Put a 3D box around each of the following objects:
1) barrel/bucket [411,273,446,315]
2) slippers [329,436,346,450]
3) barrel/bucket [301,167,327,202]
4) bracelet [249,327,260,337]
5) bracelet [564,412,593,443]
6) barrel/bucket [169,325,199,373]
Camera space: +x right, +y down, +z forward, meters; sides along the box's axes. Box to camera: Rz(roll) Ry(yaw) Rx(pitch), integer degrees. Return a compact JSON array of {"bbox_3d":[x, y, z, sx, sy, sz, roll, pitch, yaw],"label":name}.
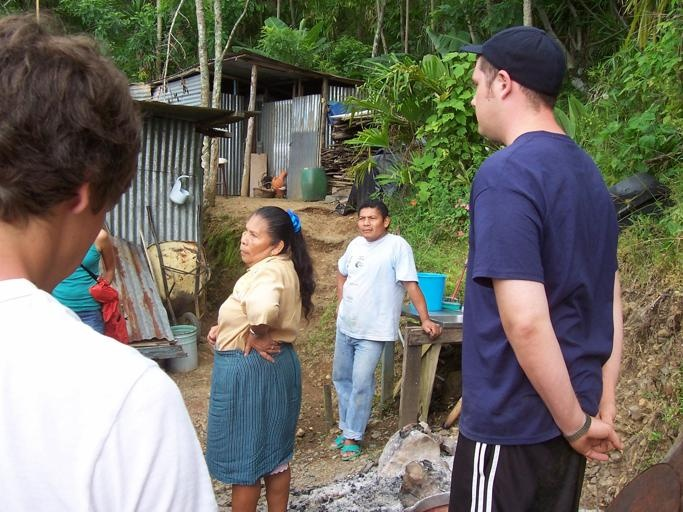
[{"bbox_3d":[0.693,0.283,5.072,0.268,0.270,0.271,-1,2,0],"label":"barrel/bucket"},{"bbox_3d":[-0.024,1.501,5.043,0.067,0.066,0.142,5,6,40],"label":"slippers"},{"bbox_3d":[-0.588,-1.552,13.444,0.636,0.676,0.626,-3,5,0],"label":"barrel/bucket"},{"bbox_3d":[-0.466,0.403,3.343,0.042,0.045,0.012,-11,41,48],"label":"bracelet"},{"bbox_3d":[0.783,0.559,2.038,0.020,0.081,0.085,38,27,10],"label":"bracelet"},{"bbox_3d":[-1.721,1.035,6.989,0.408,0.495,0.437,0,11,0],"label":"barrel/bucket"}]
